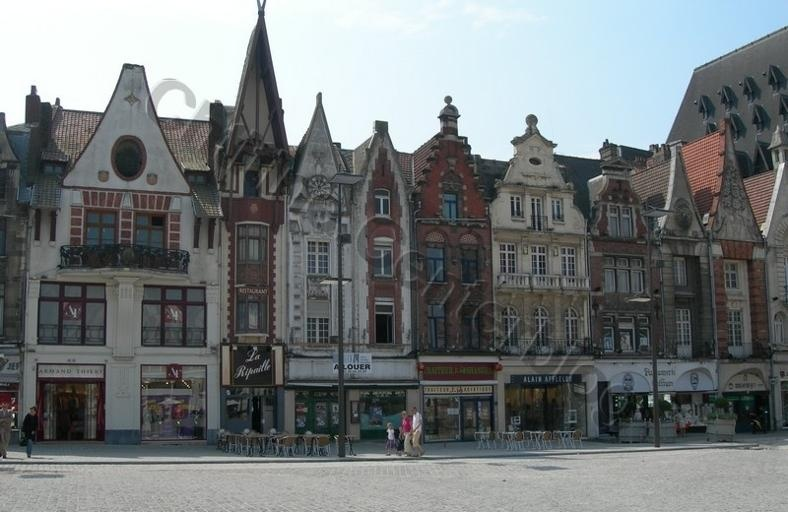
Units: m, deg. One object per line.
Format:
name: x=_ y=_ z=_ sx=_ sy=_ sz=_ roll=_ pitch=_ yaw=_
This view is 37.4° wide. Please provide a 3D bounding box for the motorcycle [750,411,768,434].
motorcycle: x=26.346 y=12.118 z=84.435 sx=1.131 sy=1.890 sz=1.272 roll=-10 pitch=-43 yaw=14
